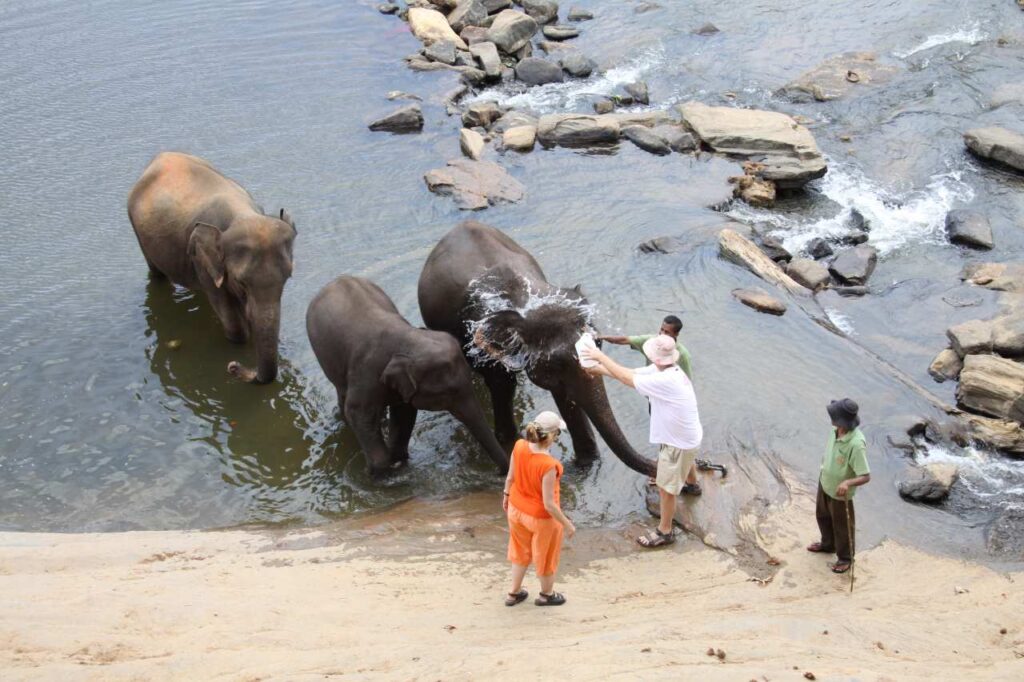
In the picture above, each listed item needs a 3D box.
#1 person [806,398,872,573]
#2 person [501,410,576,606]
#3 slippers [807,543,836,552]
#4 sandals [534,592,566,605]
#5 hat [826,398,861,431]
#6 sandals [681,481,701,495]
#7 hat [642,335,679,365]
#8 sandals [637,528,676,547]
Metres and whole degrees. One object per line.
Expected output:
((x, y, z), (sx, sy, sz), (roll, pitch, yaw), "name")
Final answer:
((3.666, 1.617, 11.139), (0.532, 1.838, 0.980), (7, 38, 20), "person")
((0.237, 1.881, 10.804), (0.774, 2.185, 0.961), (-3, 36, 6), "person")
((3.557, 2.373, 11.444), (0.280, 0.106, 0.103), (5, 24, 6), "slippers")
((0.418, 2.838, 10.962), (0.325, 0.123, 0.142), (-4, 33, -4), "sandals")
((3.659, 0.787, 11.021), (0.317, 0.316, 0.254), (9, 38, 21), "hat")
((2.167, 1.770, 12.087), (0.286, 0.104, 0.102), (12, 42, 23), "sandals")
((1.664, 0.092, 11.195), (0.369, 0.387, 0.256), (0, 36, 10), "hat")
((1.689, 2.284, 11.652), (0.381, 0.138, 0.183), (0, 18, -8), "sandals")
